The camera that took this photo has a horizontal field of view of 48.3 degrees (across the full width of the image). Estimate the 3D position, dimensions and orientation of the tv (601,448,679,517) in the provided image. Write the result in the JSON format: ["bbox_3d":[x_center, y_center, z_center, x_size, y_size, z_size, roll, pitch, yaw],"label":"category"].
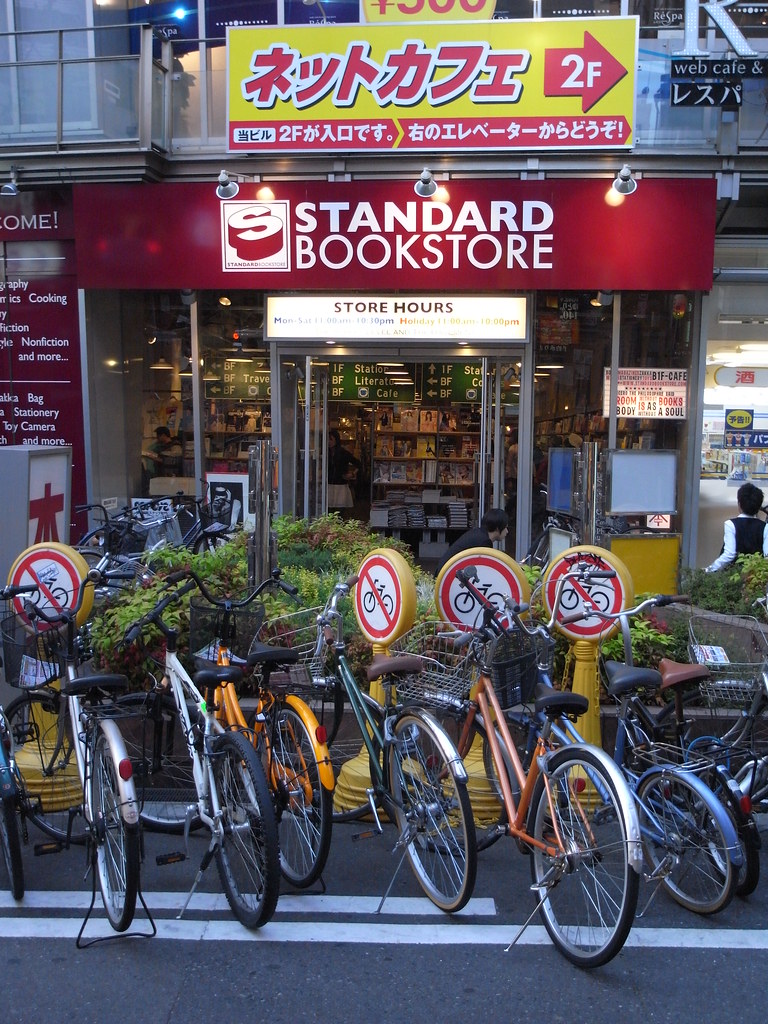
[{"bbox_3d":[2.114,-0.244,7.176,0.553,0.485,0.073,0,-1,-4],"label":"tv"}]

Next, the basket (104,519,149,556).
[{"bbox_3d":[-2.659,0.308,8.707,0.314,0.170,0.425,1,28,-2],"label":"basket"}]

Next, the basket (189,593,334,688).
[{"bbox_3d":[-0.573,0.533,3.476,0.442,0.391,0.459,3,9,3],"label":"basket"}]
